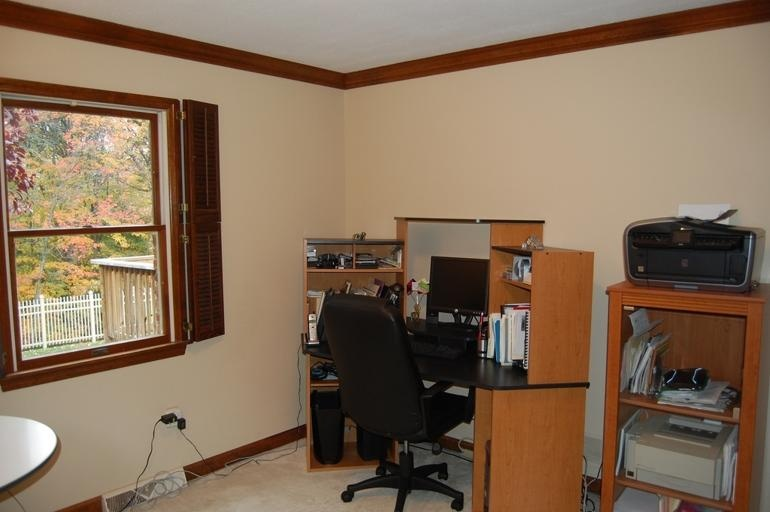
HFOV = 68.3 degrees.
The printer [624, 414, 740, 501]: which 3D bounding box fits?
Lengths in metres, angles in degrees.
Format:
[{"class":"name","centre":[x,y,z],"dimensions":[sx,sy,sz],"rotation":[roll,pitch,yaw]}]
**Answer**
[{"class":"printer","centre":[1.972,1.341,3.753],"dimensions":[0.645,0.293,0.663],"rotation":[2,5,35]}]

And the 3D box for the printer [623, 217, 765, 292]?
[{"class":"printer","centre":[2.053,0.034,3.831],"dimensions":[0.732,0.500,0.510],"rotation":[2,1,29]}]

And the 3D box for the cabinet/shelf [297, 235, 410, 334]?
[{"class":"cabinet/shelf","centre":[-0.239,0.230,4.635],"dimensions":[0.872,0.813,0.284],"rotation":[0,-2,-5]}]

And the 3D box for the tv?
[{"class":"tv","centre":[0.614,0.290,4.691],"dimensions":[0.570,0.578,0.248],"rotation":[0,-7,35]}]

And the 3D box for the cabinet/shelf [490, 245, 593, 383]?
[{"class":"cabinet/shelf","centre":[1.211,0.345,4.248],"dimensions":[0.783,0.915,0.893],"rotation":[0,14,3]}]

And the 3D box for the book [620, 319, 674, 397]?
[{"class":"book","centre":[1.763,0.697,3.930],"dimensions":[0.160,0.472,0.360],"rotation":[5,3,36]}]

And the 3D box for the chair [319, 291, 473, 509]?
[{"class":"chair","centre":[0.088,1.079,4.153],"dimensions":[1.016,1.707,0.491],"rotation":[-2,15,-6]}]

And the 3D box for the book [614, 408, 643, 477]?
[{"class":"book","centre":[1.653,1.292,3.884],"dimensions":[0.049,0.325,0.460],"rotation":[15,13,42]}]
